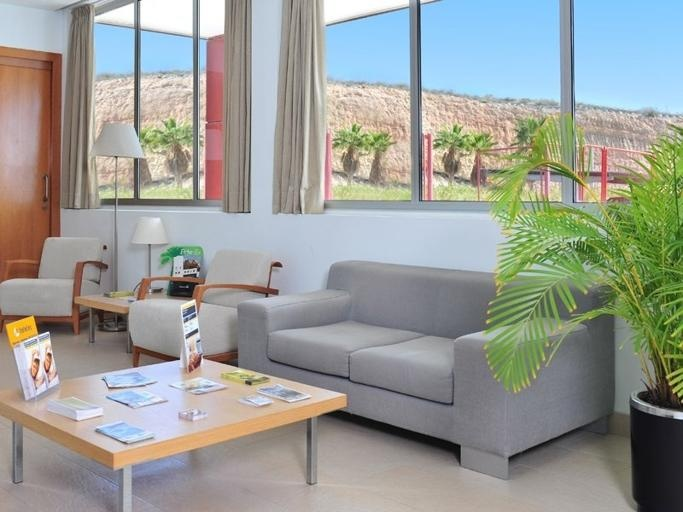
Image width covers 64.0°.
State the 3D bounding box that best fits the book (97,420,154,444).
[{"bbox_3d":[-0.895,0.720,2.240,0.149,0.016,0.089,3,3,32],"label":"book"}]

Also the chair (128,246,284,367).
[{"bbox_3d":[-1.170,0.370,4.804,0.944,1.035,1.232,2,2,43],"label":"chair"}]

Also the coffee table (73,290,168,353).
[{"bbox_3d":[-2.165,0.433,5.356,0.592,0.419,0.886,-6,10,-43],"label":"coffee table"}]

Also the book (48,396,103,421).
[{"bbox_3d":[-1.218,0.687,2.494,0.302,0.043,0.134,4,6,31],"label":"book"}]

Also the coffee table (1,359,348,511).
[{"bbox_3d":[-0.848,0.893,2.734,1.269,0.459,1.171,5,7,39],"label":"coffee table"}]
